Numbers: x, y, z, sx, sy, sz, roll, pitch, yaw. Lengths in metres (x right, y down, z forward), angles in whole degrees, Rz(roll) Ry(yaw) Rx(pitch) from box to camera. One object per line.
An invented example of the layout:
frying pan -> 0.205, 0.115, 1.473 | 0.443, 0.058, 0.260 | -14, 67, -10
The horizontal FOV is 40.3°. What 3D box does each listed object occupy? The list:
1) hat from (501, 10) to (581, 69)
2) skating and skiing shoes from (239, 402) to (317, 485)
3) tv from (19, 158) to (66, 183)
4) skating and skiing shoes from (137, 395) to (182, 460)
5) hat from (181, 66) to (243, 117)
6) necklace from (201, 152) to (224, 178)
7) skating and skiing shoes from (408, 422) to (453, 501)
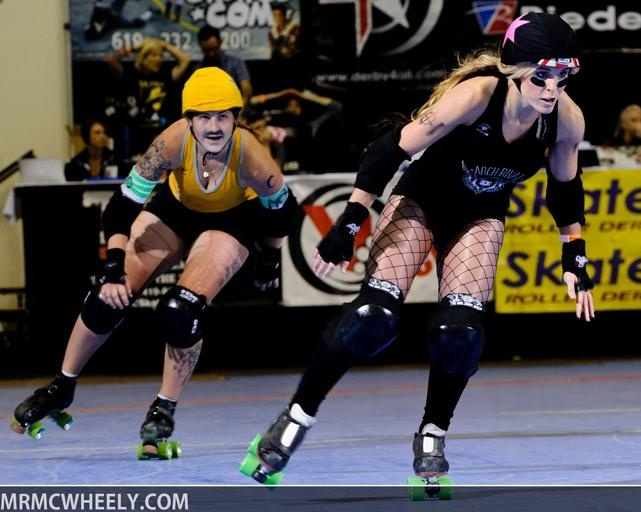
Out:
hat -> 0.935, -0.901, 3.694 | 0.218, 0.190, 0.308 | 2, 20, -5
skating and skiing shoes -> -0.188, 0.815, 3.841 | 0.173, 0.251, 0.509 | 32, 3, -4
tv -> -2.088, -0.628, 6.547 | 0.314, 0.210, 0.222 | -2, 1, -9
skating and skiing shoes -> -0.795, 0.865, 4.329 | 0.211, 0.275, 0.245 | 2, 12, -9
hat -> -0.549, -0.812, 4.292 | 0.203, 0.244, 0.271 | -6, 4, -7
necklace -> -0.529, -0.444, 4.242 | 0.085, 0.125, 0.030 | 3, 9, -1
skating and skiing shoes -> 0.473, 0.905, 3.806 | 0.161, 0.293, 0.309 | -3, -6, 3
